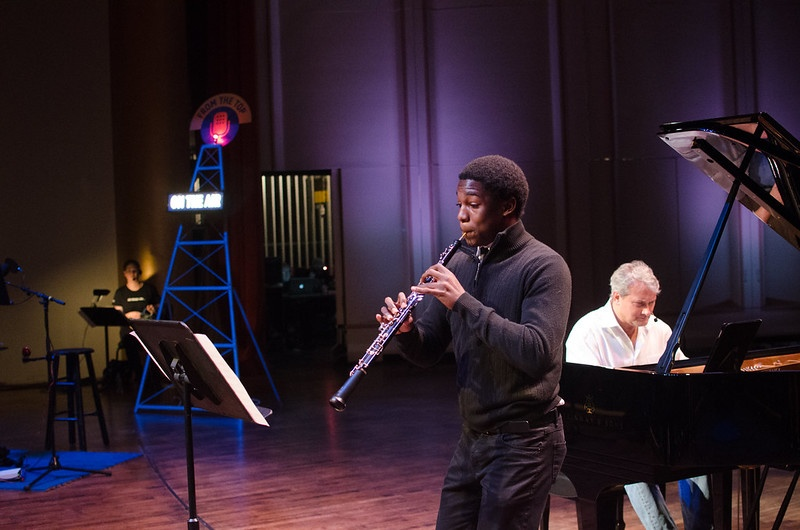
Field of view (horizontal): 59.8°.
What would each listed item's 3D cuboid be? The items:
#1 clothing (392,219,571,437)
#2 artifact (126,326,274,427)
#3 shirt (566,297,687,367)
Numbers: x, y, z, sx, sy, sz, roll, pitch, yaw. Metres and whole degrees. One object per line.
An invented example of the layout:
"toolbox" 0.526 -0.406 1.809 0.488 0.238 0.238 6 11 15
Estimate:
"clothing" 0.585 0.378 4.354 1.040 1.459 1.125 5 -7 -30
"artifact" -1.269 0.679 4.446 0.528 0.760 1.030 -14 9 -38
"shirt" 1.737 0.528 5.483 0.952 0.547 0.270 1 3 -16
